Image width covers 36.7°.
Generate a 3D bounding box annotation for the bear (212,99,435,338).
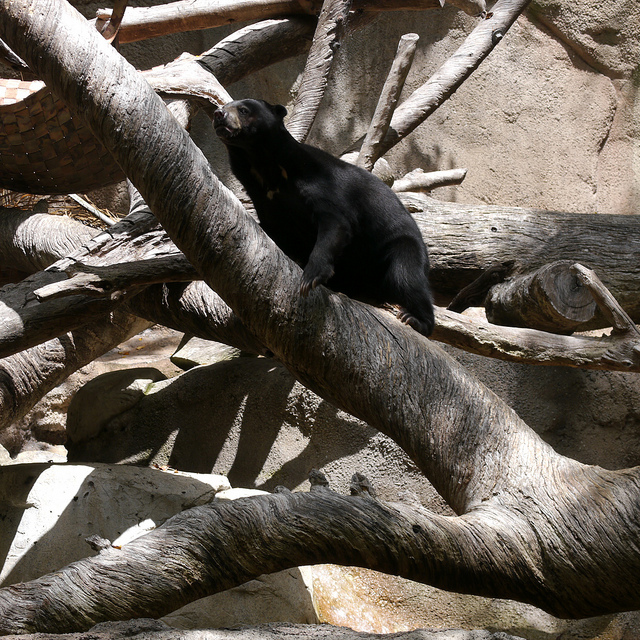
[{"bbox_3d":[0.075,-0.477,4.285,0.837,1.028,0.980,-8,16,-14],"label":"bear"}]
